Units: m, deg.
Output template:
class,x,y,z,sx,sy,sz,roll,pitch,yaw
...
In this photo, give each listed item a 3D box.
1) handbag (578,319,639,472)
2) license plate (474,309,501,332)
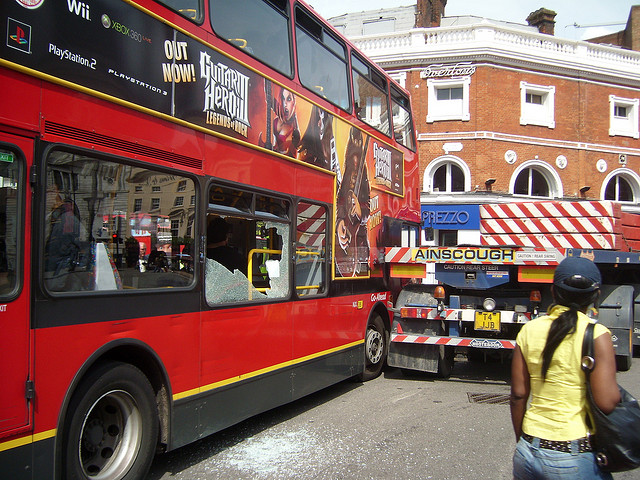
class,x,y,z,sx,sy,sz,roll,pitch,yaw
handbag,1.556,0.845,2.520,0.278,0.795,0.211,-1,-3,23
license plate,2.917,1.390,8.134,0.322,0.283,0.047,-1,-6,18
